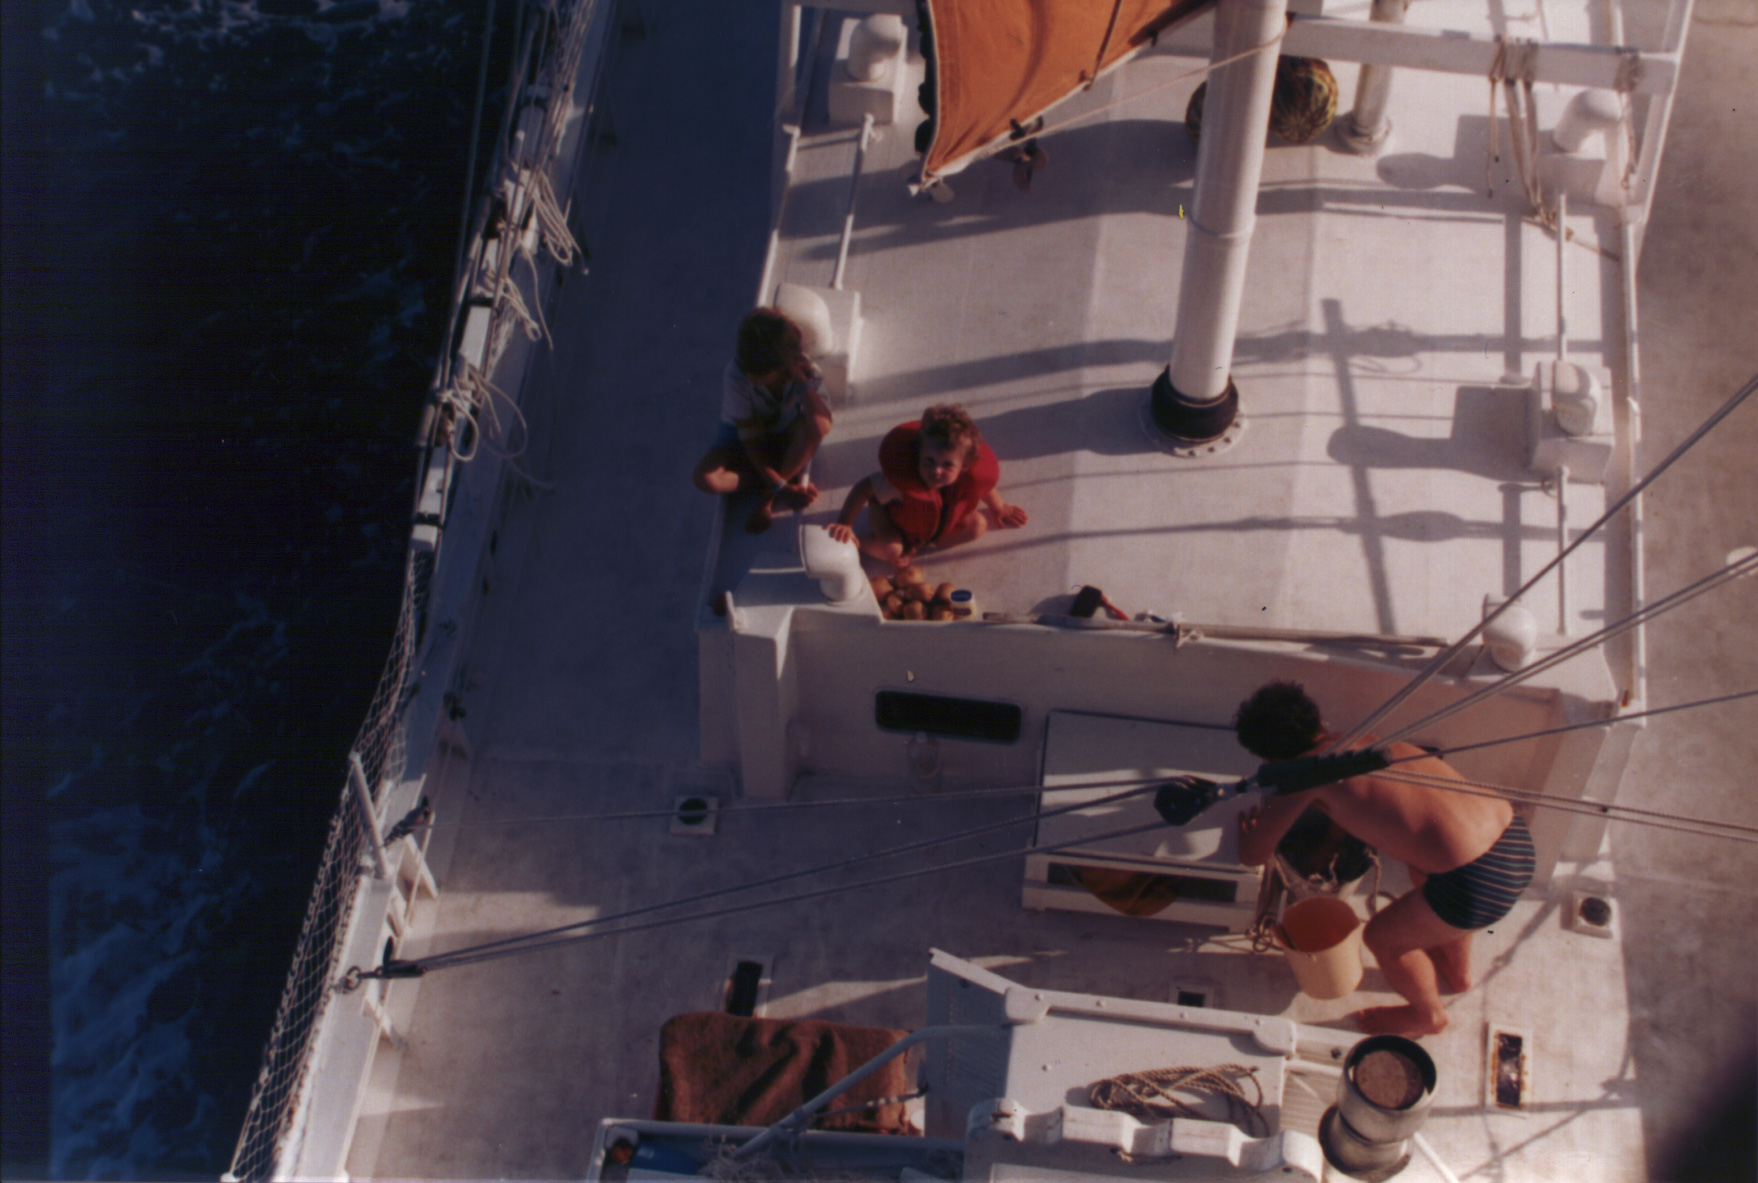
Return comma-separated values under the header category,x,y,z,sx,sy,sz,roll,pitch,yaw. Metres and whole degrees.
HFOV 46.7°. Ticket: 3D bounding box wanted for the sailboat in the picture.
category,x,y,z,sx,sy,sz,roll,pitch,yaw
sailboat,0.823,-0.081,19.894,11.454,7.356,8.707,1,34,-1
